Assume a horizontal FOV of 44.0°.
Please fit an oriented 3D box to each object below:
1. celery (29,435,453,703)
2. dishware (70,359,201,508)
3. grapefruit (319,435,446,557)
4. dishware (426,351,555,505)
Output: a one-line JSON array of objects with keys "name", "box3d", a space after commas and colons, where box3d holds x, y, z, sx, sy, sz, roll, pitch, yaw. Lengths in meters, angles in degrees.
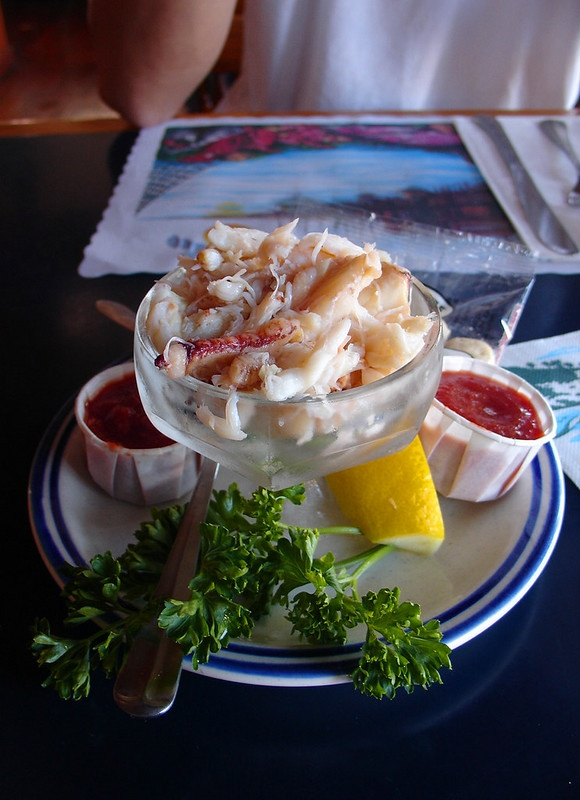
[{"name": "celery", "box3d": [-0.043, 0.201, 0.794, 0.367, 0.090, 0.273, -21, 52, -39]}, {"name": "dishware", "box3d": [-0.238, 0.063, 1.110, 0.199, 0.113, 0.199, 10, 41, -1]}, {"name": "grapefruit", "box3d": [0.142, 0.132, 0.964, 0.160, 0.070, 0.197, -17, 57, 9]}, {"name": "dishware", "box3d": [0.255, 0.067, 1.163, 0.243, 0.161, 0.223, 16, 36, -10]}]
